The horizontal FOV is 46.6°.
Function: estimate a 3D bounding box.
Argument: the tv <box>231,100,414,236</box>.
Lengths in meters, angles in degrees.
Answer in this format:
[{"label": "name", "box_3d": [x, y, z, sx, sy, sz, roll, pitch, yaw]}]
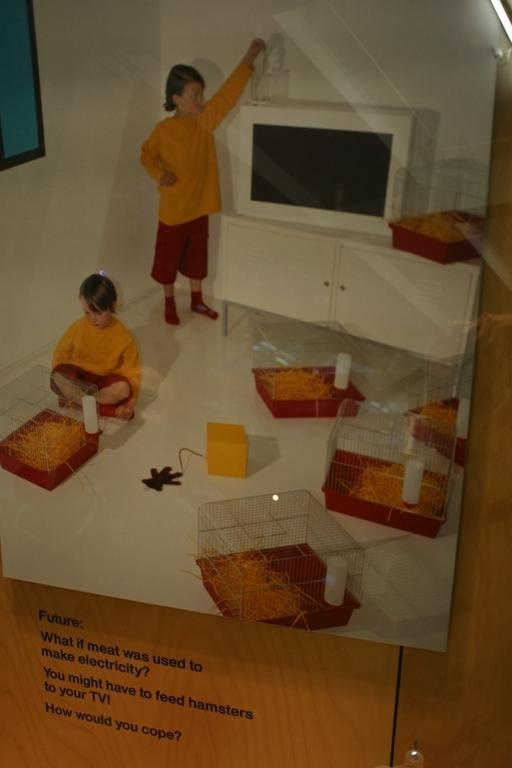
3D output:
[{"label": "tv", "box_3d": [0.074, -0.265, 0.722, 0.215, 0.140, 0.029, 8, 17, 3]}]
